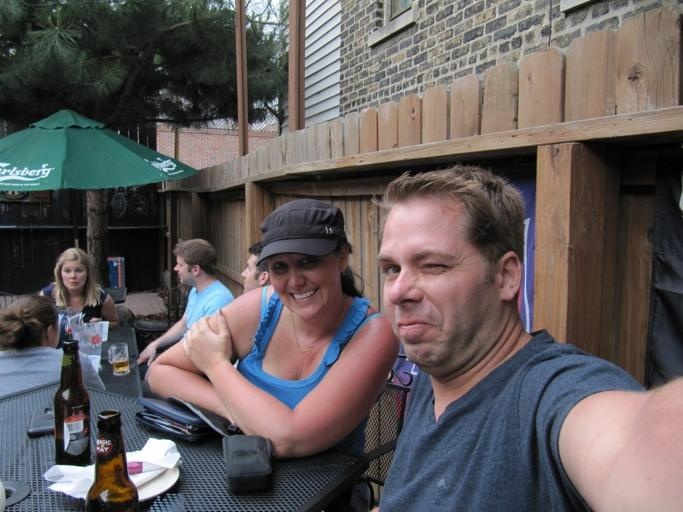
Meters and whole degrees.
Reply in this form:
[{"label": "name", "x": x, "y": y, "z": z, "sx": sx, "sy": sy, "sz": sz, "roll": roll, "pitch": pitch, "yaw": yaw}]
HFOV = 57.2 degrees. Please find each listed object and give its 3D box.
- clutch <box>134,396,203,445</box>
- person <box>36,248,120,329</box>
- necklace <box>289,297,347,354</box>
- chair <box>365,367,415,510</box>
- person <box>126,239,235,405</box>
[{"label": "clutch", "x": -0.789, "y": 0.772, "z": 2.884, "sx": 0.424, "sy": 0.166, "sz": 0.281, "roll": 1, "pitch": 1, "yaw": 34}, {"label": "person", "x": -2.474, "y": 0.298, "z": 6.012, "sx": 0.399, "sy": 1.379, "sz": 0.502, "roll": 0, "pitch": 0, "yaw": -29}, {"label": "necklace", "x": -0.111, "y": 0.327, "z": 3.086, "sx": 0.183, "sy": 0.269, "sz": 0.256, "roll": -1, "pitch": 11, "yaw": -24}, {"label": "chair", "x": 0.274, "y": 0.897, "z": 3.296, "sx": 0.318, "sy": 0.847, "sz": 0.325, "roll": -3, "pitch": 10, "yaw": -18}, {"label": "person", "x": -1.366, "y": 0.383, "z": 5.376, "sx": 0.716, "sy": 1.597, "sz": 0.764, "roll": 0, "pitch": 9, "yaw": -25}]
